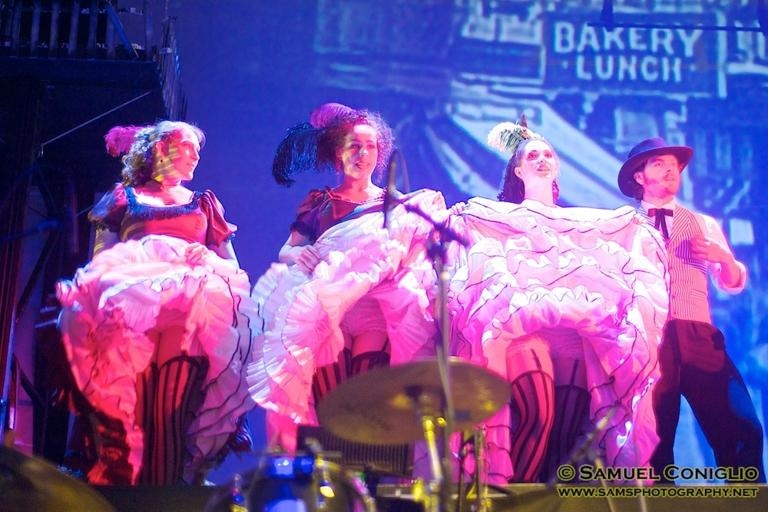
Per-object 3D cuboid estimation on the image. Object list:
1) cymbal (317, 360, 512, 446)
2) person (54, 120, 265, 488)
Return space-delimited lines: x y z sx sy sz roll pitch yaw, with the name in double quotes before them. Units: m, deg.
"cymbal" 0.132 0.733 4.750 0.601 0.141 0.609 1 -42 -4
"person" -1.490 0.241 6.355 1.333 2.559 0.584 6 -14 -6
